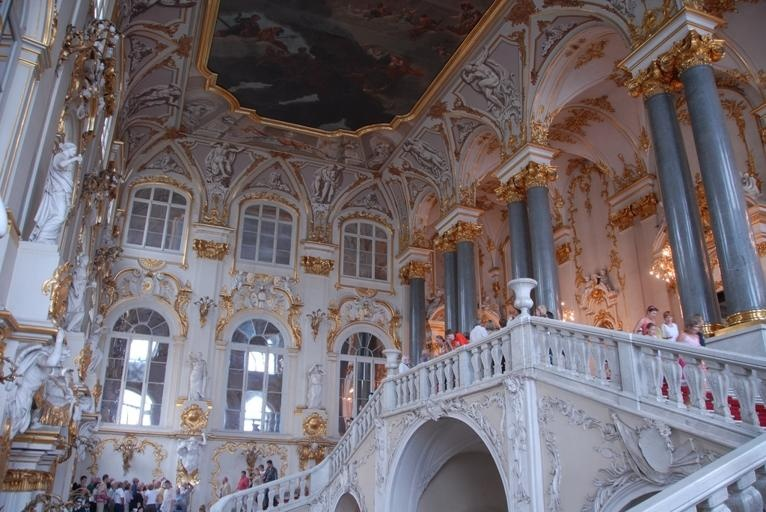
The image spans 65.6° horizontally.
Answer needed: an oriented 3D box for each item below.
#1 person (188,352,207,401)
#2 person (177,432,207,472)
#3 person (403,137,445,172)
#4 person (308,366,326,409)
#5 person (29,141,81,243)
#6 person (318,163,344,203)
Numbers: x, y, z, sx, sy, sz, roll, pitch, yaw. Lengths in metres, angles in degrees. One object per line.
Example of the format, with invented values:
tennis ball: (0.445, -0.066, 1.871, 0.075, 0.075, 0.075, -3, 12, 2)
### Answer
person: (-5.288, 3.476, 17.011, 0.640, 1.324, 0.309, 13, -28, -21)
person: (-5.289, 5.399, 16.335, 0.936, 1.331, 0.308, 7, -19, -28)
person: (1.302, -3.146, 18.152, 1.255, 0.140, 0.497, 36, -43, 6)
person: (-2.041, 3.977, 18.019, 0.554, 1.318, 0.351, 8, -26, -11)
person: (-4.051, -0.765, 7.387, 0.351, 1.338, 0.554, 16, -29, -27)
person: (-1.786, -2.503, 20.030, 0.852, 1.395, 0.583, 18, -3, -33)
